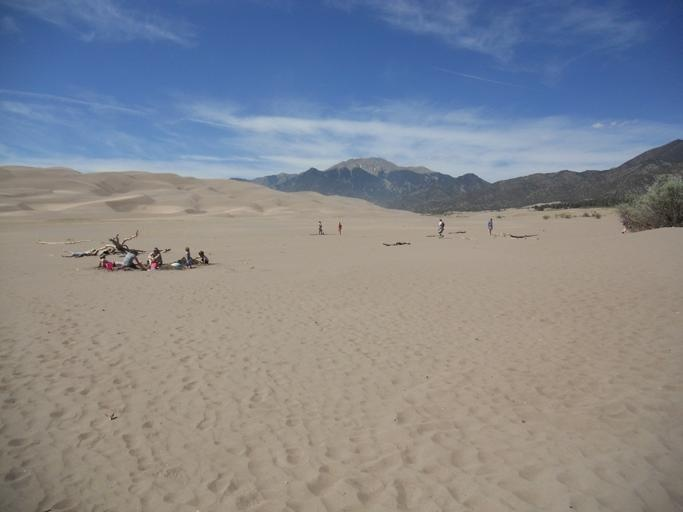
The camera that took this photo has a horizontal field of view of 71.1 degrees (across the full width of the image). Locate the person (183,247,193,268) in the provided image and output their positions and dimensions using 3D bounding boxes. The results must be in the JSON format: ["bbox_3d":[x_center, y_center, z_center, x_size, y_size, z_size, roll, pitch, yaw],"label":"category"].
[{"bbox_3d":[-6.180,0.021,19.197,0.362,0.787,0.679,-2,8,-18],"label":"person"}]

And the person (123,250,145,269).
[{"bbox_3d":[-8.385,0.131,19.109,0.701,0.743,0.444,8,17,31],"label":"person"}]

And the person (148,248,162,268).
[{"bbox_3d":[-7.383,0.058,18.875,0.540,0.715,0.839,-3,8,-22],"label":"person"}]
